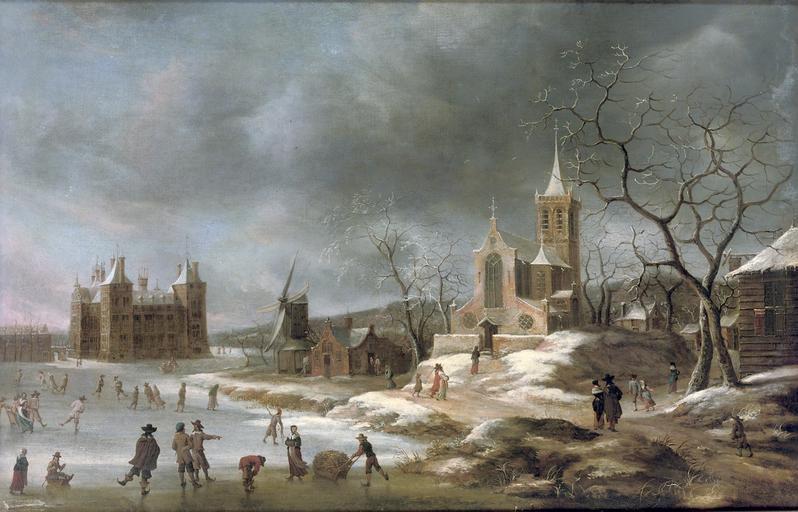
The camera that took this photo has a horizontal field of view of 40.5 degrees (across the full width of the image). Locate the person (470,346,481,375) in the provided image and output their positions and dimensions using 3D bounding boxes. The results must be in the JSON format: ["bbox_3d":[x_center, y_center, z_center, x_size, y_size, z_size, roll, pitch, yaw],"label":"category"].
[{"bbox_3d":[2.638,3.580,37.377,0.318,0.963,0.402,-3,-11,4],"label":"person"}]

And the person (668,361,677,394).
[{"bbox_3d":[9.189,4.016,36.064,0.342,1.001,0.778,-5,-11,14],"label":"person"}]

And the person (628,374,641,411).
[{"bbox_3d":[7.779,4.442,35.489,0.338,1.152,0.739,-4,-11,11],"label":"person"}]

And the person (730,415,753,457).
[{"bbox_3d":[10.801,5.614,34.069,0.489,1.272,0.801,-8,-12,26],"label":"person"}]
